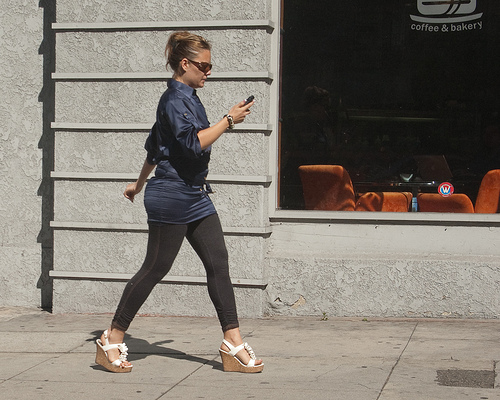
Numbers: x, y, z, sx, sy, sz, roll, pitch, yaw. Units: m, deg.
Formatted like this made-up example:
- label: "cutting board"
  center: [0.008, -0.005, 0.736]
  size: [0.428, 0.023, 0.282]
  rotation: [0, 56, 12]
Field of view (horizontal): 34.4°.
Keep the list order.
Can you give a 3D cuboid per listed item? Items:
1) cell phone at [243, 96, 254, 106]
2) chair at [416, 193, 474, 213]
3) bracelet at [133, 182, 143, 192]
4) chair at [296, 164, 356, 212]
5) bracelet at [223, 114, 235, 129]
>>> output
- label: "cell phone"
  center: [-0.014, -0.757, 6.152]
  size: [0.031, 0.096, 0.025]
  rotation: [54, 5, 4]
- label: "chair"
  center: [1.981, 0.034, 8.278]
  size: [0.377, 0.215, 0.249]
  rotation: [1, 16, 15]
- label: "bracelet"
  center: [-0.931, -0.111, 6.700]
  size: [0.092, 0.057, 0.083]
  rotation: [0, 9, -2]
- label: "chair"
  center: [0.791, -0.127, 8.475]
  size: [0.503, 0.567, 0.605]
  rotation: [0, 4, 42]
- label: "bracelet"
  center: [-0.156, -0.601, 6.163]
  size: [0.065, 0.092, 0.097]
  rotation: [-19, 57, -23]
